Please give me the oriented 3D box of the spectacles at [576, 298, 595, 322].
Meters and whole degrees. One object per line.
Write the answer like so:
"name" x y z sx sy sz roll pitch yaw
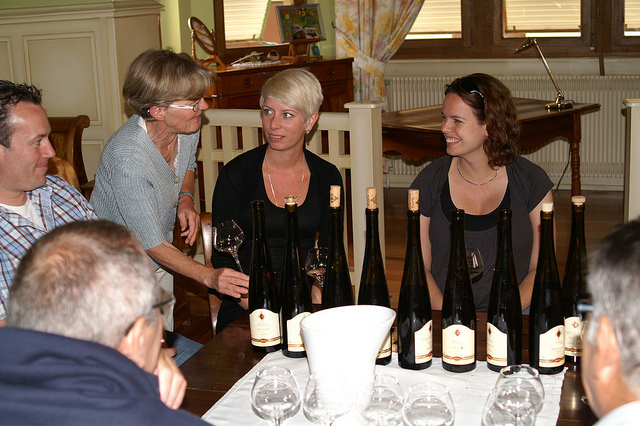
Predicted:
"spectacles" 0.552 0.199 1.092 0.027 0.061 0.082 1 7 24

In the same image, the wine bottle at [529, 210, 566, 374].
"wine bottle" 0.634 0.209 1.462 0.090 0.446 0.141 1 7 22

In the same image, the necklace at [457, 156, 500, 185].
"necklace" 0.725 -0.195 2.378 0.132 0.109 0.012 8 14 18

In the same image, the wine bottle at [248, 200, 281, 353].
"wine bottle" -0.181 0.186 1.640 0.097 0.462 0.171 -3 7 -7

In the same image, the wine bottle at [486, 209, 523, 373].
"wine bottle" 0.521 0.206 1.480 0.095 0.448 0.176 1 7 21

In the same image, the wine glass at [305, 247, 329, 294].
"wine glass" 0.000 0.191 1.733 0.102 0.155 0.109 0 3 2

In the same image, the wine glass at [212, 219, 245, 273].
"wine glass" -0.343 0.130 1.938 0.105 0.221 0.199 -3 7 -12

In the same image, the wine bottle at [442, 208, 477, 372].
"wine bottle" 0.396 0.207 1.496 0.096 0.451 0.166 0 7 16

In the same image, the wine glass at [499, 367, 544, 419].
"wine glass" 0.461 0.415 1.245 0.102 0.103 0.104 -1 5 3

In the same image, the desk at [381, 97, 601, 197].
"desk" 1.400 -0.588 4.636 1.963 0.898 0.941 -6 7 -29

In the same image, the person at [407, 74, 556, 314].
"person" 0.679 -0.036 2.293 0.611 1.096 0.619 -2 25 15

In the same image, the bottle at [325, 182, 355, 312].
"bottle" 0.048 0.123 1.650 0.093 0.416 0.095 -2 28 1
